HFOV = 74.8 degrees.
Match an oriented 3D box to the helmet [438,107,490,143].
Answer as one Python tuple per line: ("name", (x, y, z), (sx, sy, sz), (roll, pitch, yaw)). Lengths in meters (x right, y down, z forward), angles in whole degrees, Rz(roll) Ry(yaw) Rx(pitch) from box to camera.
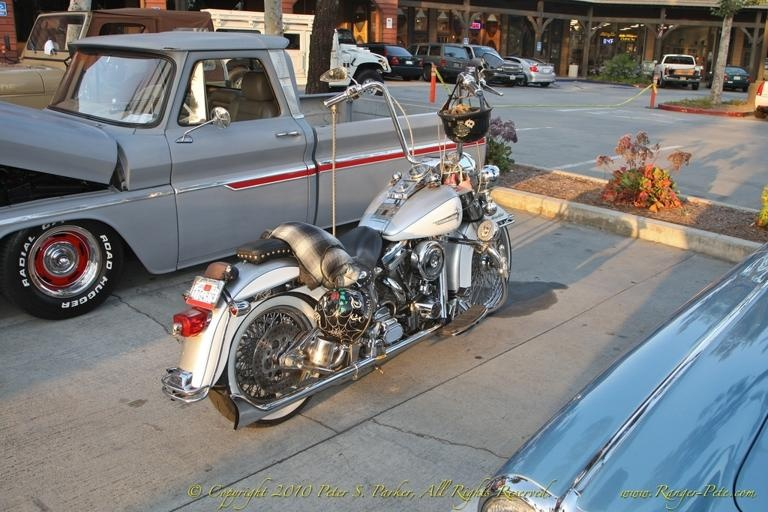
("helmet", (0.719, -1.144, 4.484), (0.506, 0.261, 0.434), (2, 23, 5))

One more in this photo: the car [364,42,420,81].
("car", (0.884, -10.462, 27.240), (1.916, 1.246, 3.924), (-20, 34, -32))

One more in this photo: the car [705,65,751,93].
("car", (23.270, -11.608, 33.131), (1.415, 1.492, 2.159), (22, 29, 39))

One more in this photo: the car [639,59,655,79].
("car", (19.320, -13.572, 36.782), (1.006, 1.069, 3.019), (12, 22, 22))

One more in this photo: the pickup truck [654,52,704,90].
("pickup truck", (20.179, -12.540, 34.368), (2.281, 2.171, 2.393), (8, 22, 14))
